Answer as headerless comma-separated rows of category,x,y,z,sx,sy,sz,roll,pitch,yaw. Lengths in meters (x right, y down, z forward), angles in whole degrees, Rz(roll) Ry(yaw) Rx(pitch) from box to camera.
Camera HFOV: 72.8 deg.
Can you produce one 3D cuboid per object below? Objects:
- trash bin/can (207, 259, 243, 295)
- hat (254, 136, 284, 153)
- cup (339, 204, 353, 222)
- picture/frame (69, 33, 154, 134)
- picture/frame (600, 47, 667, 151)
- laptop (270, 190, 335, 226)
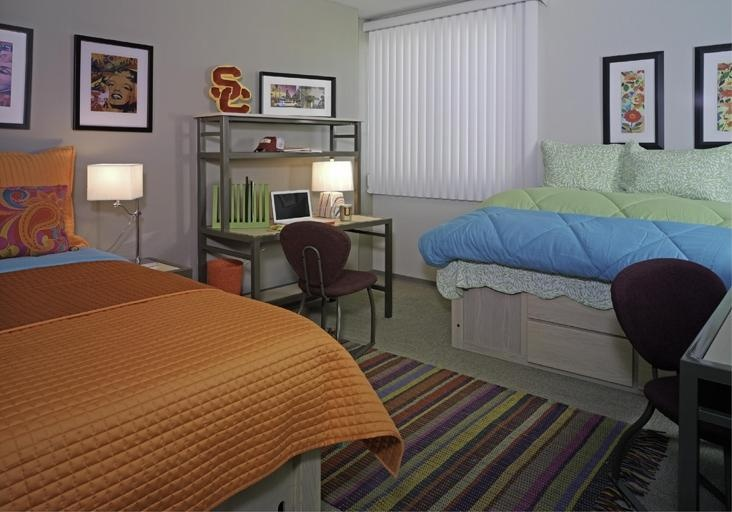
trash bin/can,-1.099,0.119,3.865,0.282,0.295,0.278,-4,10,-31
hat,-0.785,-0.932,4.112,0.194,0.081,0.130,-2,7,-16
cup,-0.206,-0.387,4.251,0.138,0.143,0.120,-2,5,-25
picture/frame,-1.783,-1.220,3.516,0.068,0.631,0.599,13,21,43
picture/frame,2.156,-1.266,4.019,0.503,0.731,0.165,6,16,23
laptop,-0.592,-0.425,4.190,0.354,0.250,0.414,6,8,42
